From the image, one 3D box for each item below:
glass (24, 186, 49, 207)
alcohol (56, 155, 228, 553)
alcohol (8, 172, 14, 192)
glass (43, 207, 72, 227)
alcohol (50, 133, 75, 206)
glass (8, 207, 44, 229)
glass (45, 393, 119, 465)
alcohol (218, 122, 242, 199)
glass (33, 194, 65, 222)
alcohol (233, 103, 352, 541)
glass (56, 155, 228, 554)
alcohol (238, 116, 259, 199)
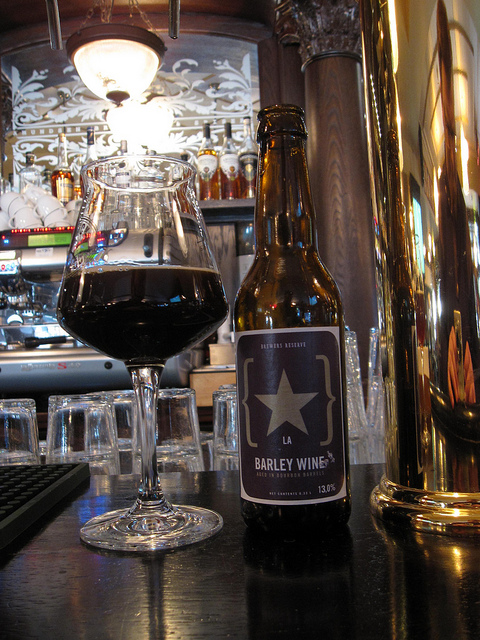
[{"bbox_3d":[-0.972,-0.594,2.737,0.096,0.073,0.100,25,22,19],"label":"glass"},{"bbox_3d":[-0.075,0.026,0.453,0.124,0.284,0.125,0,2,16],"label":"alcohol"},{"bbox_3d":[-1.404,-0.848,3.488,0.031,0.136,0.114,1,-6,-25],"label":"alcohol"},{"bbox_3d":[-0.841,-0.468,2.625,0.084,0.080,0.118,-10,-14,-42],"label":"glass"},{"bbox_3d":[-0.927,-0.759,2.970,0.097,0.380,0.100,-5,15,-28],"label":"alcohol"},{"bbox_3d":[-0.998,-0.472,2.644,0.152,0.100,0.065,0,-6,-19],"label":"glass"},{"bbox_3d":[-0.182,0.115,0.665,0.074,0.077,0.077,1,4,2],"label":"glass"},{"bbox_3d":[-0.063,-0.867,3.002,0.092,0.460,0.085,0,-13,6],"label":"alcohol"},{"bbox_3d":[-0.902,-0.522,2.700,0.131,0.106,0.103,-9,-13,40],"label":"glass"},{"bbox_3d":[0.030,-0.001,0.387,0.073,0.286,0.074,-2,-4,4],"label":"alcohol"},{"bbox_3d":[-0.063,0.017,0.437,0.138,0.276,0.119,-2,-2,-1],"label":"glass"},{"bbox_3d":[0.065,-0.839,2.987,0.102,0.411,0.106,-3,11,-25],"label":"alcohol"}]
